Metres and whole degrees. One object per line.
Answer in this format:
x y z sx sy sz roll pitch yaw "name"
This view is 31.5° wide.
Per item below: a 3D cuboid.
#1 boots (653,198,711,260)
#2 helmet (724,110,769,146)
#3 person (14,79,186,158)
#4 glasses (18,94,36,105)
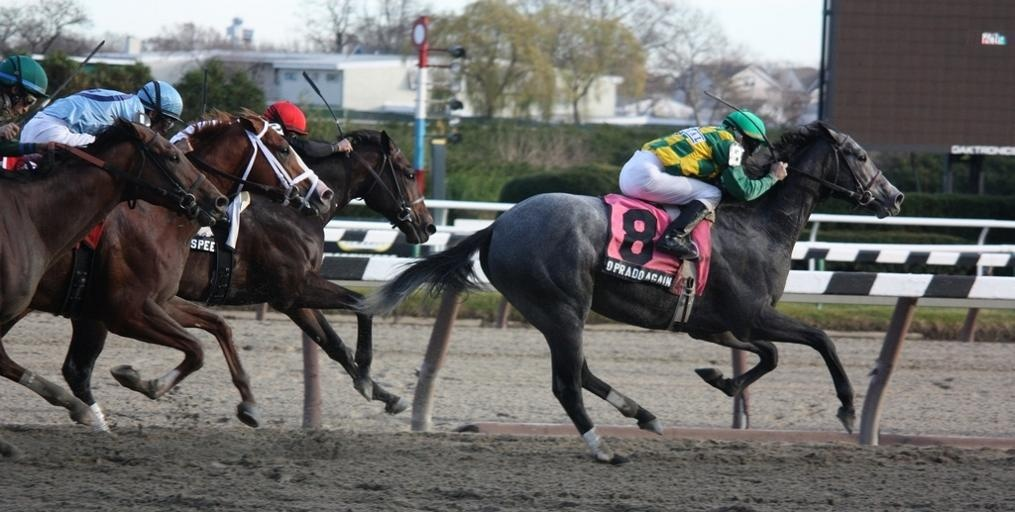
2.008 -0.287 20.458 0.403 0.669 0.477 8 14 26 "boots"
2.803 -1.491 20.850 0.543 0.260 0.347 17 29 -7 "helmet"
-4.606 -1.614 20.635 2.070 0.660 0.728 -2 6 -17 "person"
-5.497 -1.793 20.646 0.191 0.079 0.139 5 5 26 "glasses"
